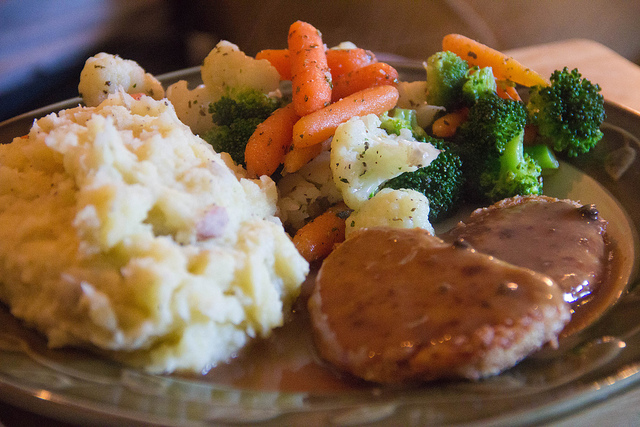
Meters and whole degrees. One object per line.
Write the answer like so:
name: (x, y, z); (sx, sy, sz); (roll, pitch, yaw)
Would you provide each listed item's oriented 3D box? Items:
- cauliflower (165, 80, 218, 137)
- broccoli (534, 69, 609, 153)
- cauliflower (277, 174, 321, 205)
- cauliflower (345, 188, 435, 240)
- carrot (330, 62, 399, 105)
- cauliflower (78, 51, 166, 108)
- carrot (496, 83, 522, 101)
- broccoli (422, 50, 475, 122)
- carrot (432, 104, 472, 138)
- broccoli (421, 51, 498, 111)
cauliflower: (-0.827, -0.688, 4.116); (0.196, 0.421, 0.267); (2, 16, 27)
broccoli: (1.478, -0.589, 3.728); (0.417, 0.184, 0.480); (-1, 91, 5)
cauliflower: (-0.128, -0.181, 3.844); (0.074, 0.305, 0.205); (-43, 57, -14)
cauliflower: (0.397, 0.006, 3.664); (0.491, 0.240, 0.271); (7, 60, 3)
carrot: (0.266, -0.895, 4.163); (0.189, 0.195, 0.632); (-15, 17, -37)
cauliflower: (-1.261, -0.858, 4.101); (0.461, 0.453, 0.394); (10, 23, 36)
carrot: (1.185, -0.758, 4.113); (0.131, 0.031, 0.134); (42, 43, -7)
broccoli: (0.769, -0.780, 4.007); (0.321, 0.196, 0.391); (2, 94, -22)
carrot: (0.823, -0.557, 3.975); (0.279, 0.119, 0.126); (-34, 59, -16)
broccoli: (0.858, -0.790, 4.062); (0.414, 0.232, 0.319); (29, 95, 6)
